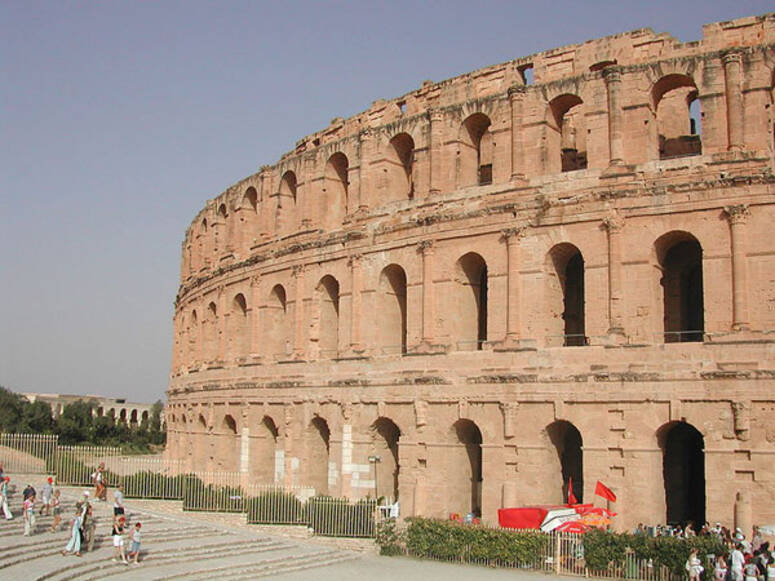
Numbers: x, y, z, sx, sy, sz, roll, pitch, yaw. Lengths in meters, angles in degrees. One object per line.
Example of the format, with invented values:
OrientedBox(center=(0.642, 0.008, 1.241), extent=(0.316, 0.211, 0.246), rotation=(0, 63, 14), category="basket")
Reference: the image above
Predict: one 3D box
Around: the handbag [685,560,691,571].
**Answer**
OrientedBox(center=(9.788, 8.968, 32.205), extent=(0.091, 0.380, 0.270), rotation=(4, -18, -9), category="handbag")

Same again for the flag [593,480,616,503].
OrientedBox(center=(7.977, 7.406, 36.204), extent=(0.799, 0.781, 0.125), rotation=(2, -14, 11), category="flag")
